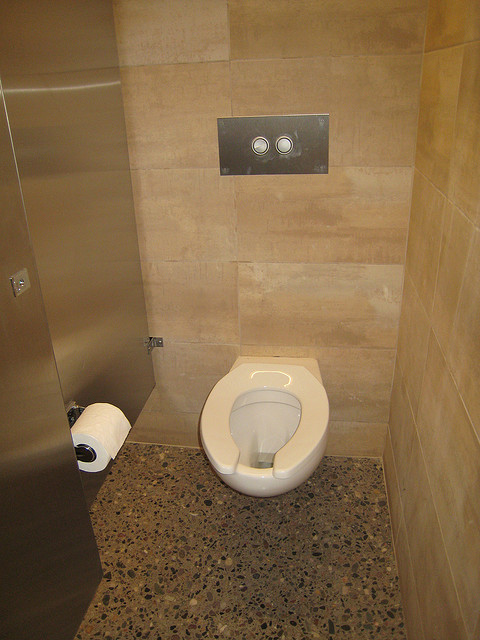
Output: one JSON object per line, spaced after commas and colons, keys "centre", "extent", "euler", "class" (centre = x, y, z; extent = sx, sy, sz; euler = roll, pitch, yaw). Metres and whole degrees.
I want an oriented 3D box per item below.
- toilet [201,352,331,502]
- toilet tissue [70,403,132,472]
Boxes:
{"centre": [0.092, 0.440, 1.604], "extent": [0.354, 0.382, 0.545], "euler": [7, 31, 14], "class": "toilet"}
{"centre": [-0.360, 0.301, 1.187], "extent": [0.124, 0.127, 0.140], "euler": [10, 23, 6], "class": "toilet tissue"}
